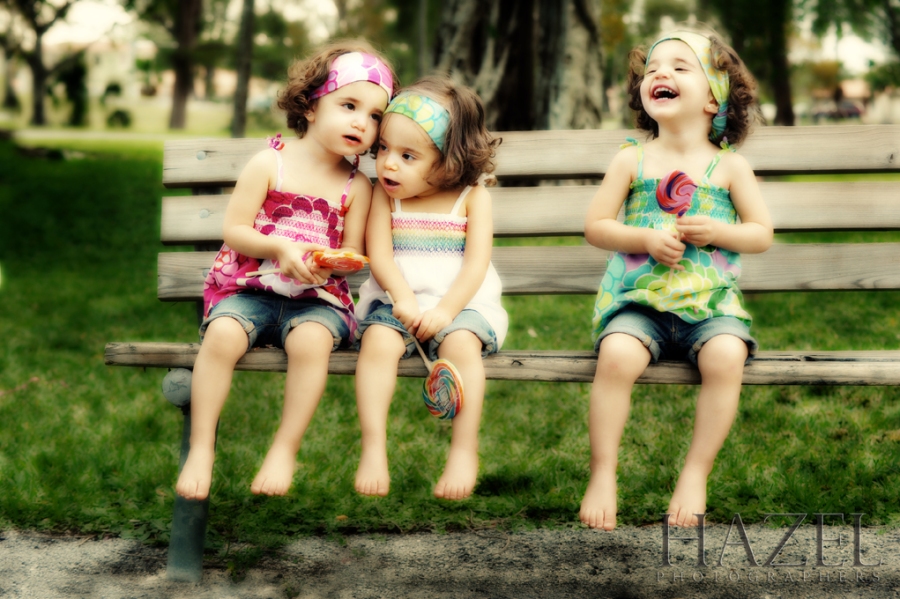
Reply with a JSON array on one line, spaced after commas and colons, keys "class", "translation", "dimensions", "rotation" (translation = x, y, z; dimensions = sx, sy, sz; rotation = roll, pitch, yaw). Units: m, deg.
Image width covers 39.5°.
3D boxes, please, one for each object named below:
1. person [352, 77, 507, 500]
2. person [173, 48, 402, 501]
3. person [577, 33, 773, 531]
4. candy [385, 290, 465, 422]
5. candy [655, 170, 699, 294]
[{"class": "person", "translation": [-0.064, -0.042, 5.901], "dimensions": [0.755, 1.887, 0.751], "rotation": [2, -4, 2]}, {"class": "person", "translation": [-0.745, -0.172, 5.852], "dimensions": [0.914, 2.187, 0.974], "rotation": [1, -19, -9]}, {"class": "person", "translation": [1.045, -0.117, 5.853], "dimensions": [0.993, 2.147, 1.023], "rotation": [2, 4, 11]}, {"class": "candy", "translation": [-0.062, 0.338, 5.544], "dimensions": [0.133, 0.365, 0.315], "rotation": [-6, 14, -28]}, {"class": "candy", "translation": [1.022, -0.462, 5.689], "dimensions": [0.172, 0.235, 0.067], "rotation": [3, 13, 9]}]
